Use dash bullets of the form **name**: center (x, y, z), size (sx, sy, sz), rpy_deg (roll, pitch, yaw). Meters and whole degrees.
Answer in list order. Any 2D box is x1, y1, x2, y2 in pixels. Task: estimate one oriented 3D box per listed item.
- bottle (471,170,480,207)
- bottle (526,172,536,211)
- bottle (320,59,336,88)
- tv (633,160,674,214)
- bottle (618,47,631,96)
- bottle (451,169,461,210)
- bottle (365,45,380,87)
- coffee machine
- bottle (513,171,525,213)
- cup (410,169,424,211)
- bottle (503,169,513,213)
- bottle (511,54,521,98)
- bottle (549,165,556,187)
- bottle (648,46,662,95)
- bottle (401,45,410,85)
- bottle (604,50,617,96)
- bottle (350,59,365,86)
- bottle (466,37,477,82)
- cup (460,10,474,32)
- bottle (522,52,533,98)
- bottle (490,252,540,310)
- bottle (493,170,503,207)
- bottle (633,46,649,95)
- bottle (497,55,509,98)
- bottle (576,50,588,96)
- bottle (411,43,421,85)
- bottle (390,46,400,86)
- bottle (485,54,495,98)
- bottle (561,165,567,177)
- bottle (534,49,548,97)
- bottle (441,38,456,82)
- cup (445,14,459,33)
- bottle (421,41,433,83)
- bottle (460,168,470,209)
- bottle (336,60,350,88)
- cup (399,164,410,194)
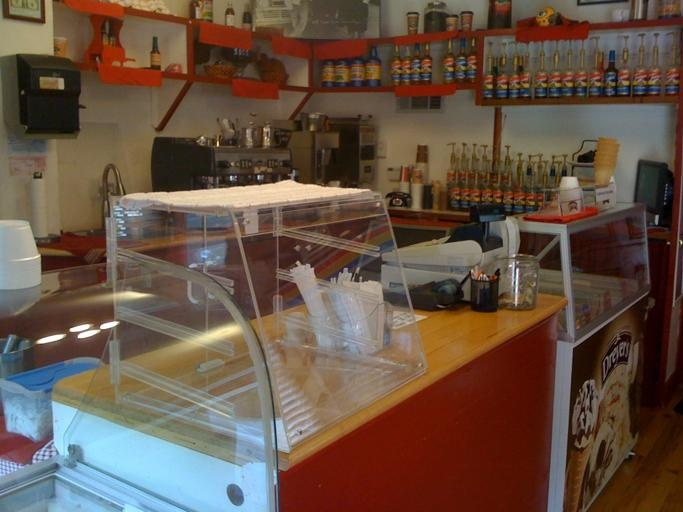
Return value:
- **bottle**: center (1.116, -0.578, 4.514), size (0.081, 0.258, 0.165), rpy_deg (3, 10, 13)
- **bottle**: center (1.507, -0.519, 4.302), size (0.082, 0.299, 0.180), rpy_deg (4, 10, 18)
- **bottle**: center (-0.122, -1.647, 4.890), size (0.141, 0.238, 0.107), rpy_deg (3, 10, 12)
- **tv**: center (2.265, -0.464, 3.823), size (0.237, 0.419, 0.418), rpy_deg (2, 13, 12)
- **bottle**: center (2.018, -1.308, 3.847), size (0.090, 0.350, 0.206), rpy_deg (5, 11, 23)
- **bottle**: center (0.967, -0.573, 4.599), size (0.083, 0.318, 0.083), rpy_deg (0, 10, 0)
- **bottle**: center (0.276, -1.691, 4.827), size (0.126, 0.358, 0.157), rpy_deg (3, 10, 15)
- **coffee machine**: center (-1.154, -0.545, 4.045), size (0.480, 0.615, 0.379), rpy_deg (-12, 17, -30)
- **bottle**: center (1.443, -0.526, 4.374), size (0.097, 0.338, 0.256), rpy_deg (4, 10, 18)
- **cup**: center (0.662, -0.596, 4.722), size (0.106, 0.355, 0.248), rpy_deg (2, 10, 7)
- **bottle**: center (1.350, -0.516, 4.375), size (0.082, 0.317, 0.149), rpy_deg (3, 10, 15)
- **bottle**: center (1.342, -1.390, 4.171), size (0.074, 0.348, 0.150), rpy_deg (3, 10, 17)
- **bottle**: center (1.664, -0.639, 4.260), size (0.046, 0.174, 0.222), rpy_deg (4, 10, 19)
- **bottle**: center (2.211, -1.307, 3.795), size (0.086, 0.360, 0.302), rpy_deg (6, 11, 29)
- **bottle**: center (0.558, -1.652, 4.658), size (0.084, 0.358, 0.229), rpy_deg (2, 10, 6)
- **bottle**: center (1.923, -1.295, 3.857), size (0.092, 0.313, 0.174), rpy_deg (4, 10, 19)
- **bottle**: center (0.148, -1.644, 4.831), size (0.120, 0.238, 0.065), rpy_deg (0, 10, -3)
- **bottle**: center (1.051, -1.588, 4.354), size (0.072, 0.340, 0.151), rpy_deg (2, 10, 11)
- **cup**: center (1.007, -1.895, 4.356), size (0.088, 0.181, 0.151), rpy_deg (2, 10, 7)
- **bottle**: center (1.441, -1.419, 4.206), size (0.083, 0.375, 0.261), rpy_deg (4, 10, 19)
- **bottle**: center (0.749, 0.106, 2.317), size (0.202, 0.227, 0.198), rpy_deg (-4, 4, -32)
- **bottle**: center (1.277, -0.568, 4.419), size (0.085, 0.247, 0.075), rpy_deg (1, 10, 1)
- **bottle**: center (2.132, -1.333, 3.842), size (0.096, 0.398, 0.330), rpy_deg (6, 11, 27)
- **bottle**: center (1.246, -1.392, 4.186), size (0.090, 0.343, 0.090), rpy_deg (-5, 26, 3)
- **bottle**: center (1.743, -1.332, 3.930), size (0.082, 0.352, 0.083), rpy_deg (-4, 16, 1)
- **bottle**: center (0.634, -1.637, 4.594), size (0.081, 0.331, 0.151), rpy_deg (1, 10, 5)
- **bottle**: center (0.469, -1.639, 4.641), size (0.073, 0.343, 0.141), rpy_deg (0, 10, -5)
- **bottle**: center (1.176, -1.429, 4.295), size (0.092, 0.360, 0.198), rpy_deg (3, 10, 13)
- **bottle**: center (1.767, -0.688, 4.276), size (0.045, 0.083, 0.056), rpy_deg (4, 10, 17)
- **bottle**: center (1.540, -1.432, 4.151), size (0.093, 0.442, 0.335), rpy_deg (4, 10, 19)
- **bottle**: center (0.896, -1.611, 4.476), size (0.095, 0.348, 0.138), rpy_deg (2, 10, 10)
- **cup**: center (0.877, -1.866, 4.370), size (0.139, 0.152, 0.141), rpy_deg (0, 2, 0)
- **bottle**: center (0.719, -1.636, 4.582), size (0.079, 0.346, 0.208), rpy_deg (3, 10, 12)
- **bottle**: center (1.045, -0.570, 4.566), size (0.063, 0.312, 0.128), rpy_deg (2, 10, 7)
- **bottle**: center (0.011, -1.645, 4.850), size (0.121, 0.236, 0.055), rpy_deg (0, 10, -3)
- **cup**: center (0.562, -0.685, 4.813), size (0.092, 0.234, 0.145), rpy_deg (2, 10, 8)
